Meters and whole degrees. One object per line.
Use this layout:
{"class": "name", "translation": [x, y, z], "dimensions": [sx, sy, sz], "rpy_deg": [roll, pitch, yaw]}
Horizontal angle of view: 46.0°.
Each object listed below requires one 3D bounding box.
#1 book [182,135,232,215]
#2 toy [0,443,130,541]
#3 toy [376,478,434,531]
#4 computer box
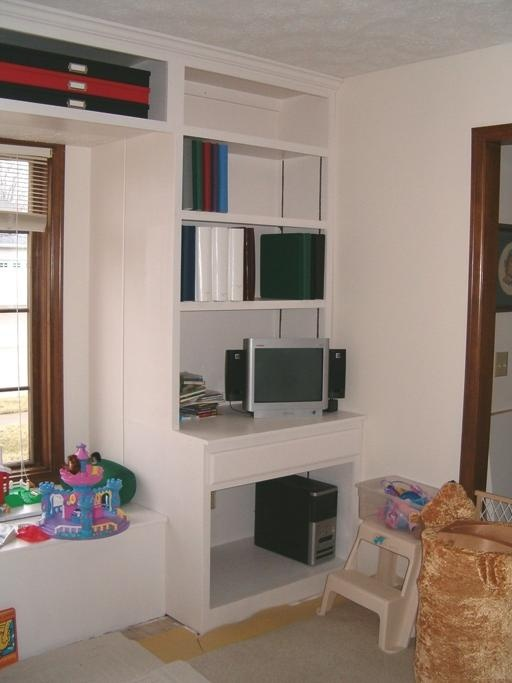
{"class": "book", "translation": [-0.221, -0.718, 2.607], "dimensions": [0.192, 0.311, 0.126], "rpy_deg": [1, 6, -8]}
{"class": "toy", "translation": [-0.736, 0.579, 2.393], "dimensions": [0.325, 0.272, 0.387], "rpy_deg": [6, 8, 31]}
{"class": "toy", "translation": [0.608, 0.673, 2.484], "dimensions": [0.200, 0.147, 0.432], "rpy_deg": [3, 5, 12]}
{"class": "computer box", "translation": [0.201, 0.907, 3.098], "dimensions": [0.396, 0.354, 0.237], "rpy_deg": [2, 0, 39]}
